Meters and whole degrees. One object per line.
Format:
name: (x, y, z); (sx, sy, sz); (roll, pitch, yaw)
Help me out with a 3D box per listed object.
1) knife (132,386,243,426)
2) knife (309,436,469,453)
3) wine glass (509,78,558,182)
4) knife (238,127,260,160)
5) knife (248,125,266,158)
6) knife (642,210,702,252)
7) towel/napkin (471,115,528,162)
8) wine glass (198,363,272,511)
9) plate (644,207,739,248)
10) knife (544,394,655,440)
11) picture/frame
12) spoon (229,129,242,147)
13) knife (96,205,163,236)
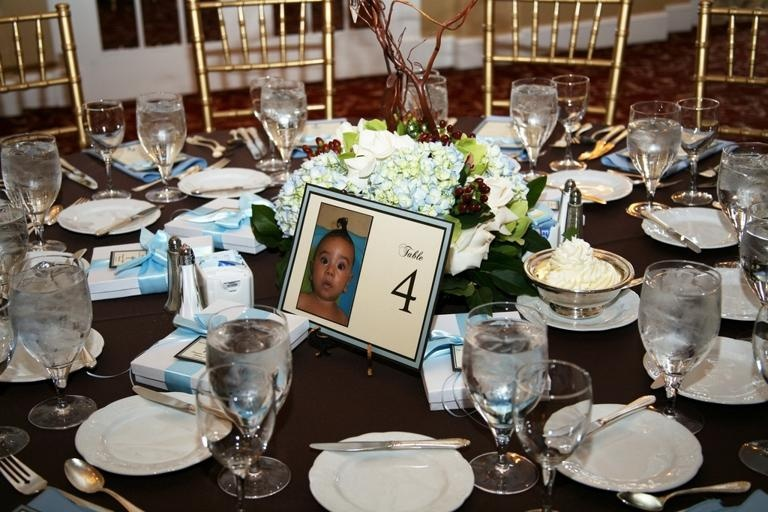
knife: (-0.332, 0.253, 1.023); (0.245, 0.012, 0.033); (16, 29, 27)
knife: (0.013, 0.318, 1.031); (0.196, 0.012, 0.028); (0, 8, 0)
wine glass: (0.466, -0.380, 1.888); (0.200, 0.298, 0.196); (2, 21, 15)
knife: (-0.479, -0.400, 2.158); (0.053, 0.037, 0.246); (-8, 28, -9)
knife: (-0.463, -0.414, 2.200); (0.048, 0.041, 0.222); (-28, 31, 4)
knife: (0.730, -0.081, 1.622); (0.024, 0.038, 0.319); (40, 6, -24)
towel/napkin: (0.363, -0.360, 1.896); (0.190, 0.038, 0.275); (-1, 32, 0)
wine glass: (-0.231, 0.247, 0.931); (0.115, 0.144, 0.090); (2, 17, 7)
plate: (0.805, -0.074, 1.604); (0.145, 0.015, 0.141); (-5, 38, -2)
knife: (0.397, 0.270, 1.053); (0.207, 0.017, 0.022); (-6, 45, -35)
picture/frame: (-0.026, 0.051, 1.258); (0.328, 0.268, 0.014); (20, -3, 24)
spoon: (-0.549, -0.429, 2.221); (0.049, 0.021, 0.075); (-1, 34, -10)
knife: (-0.699, -0.118, 1.716); (0.043, 0.024, 0.299); (7, 20, 22)
